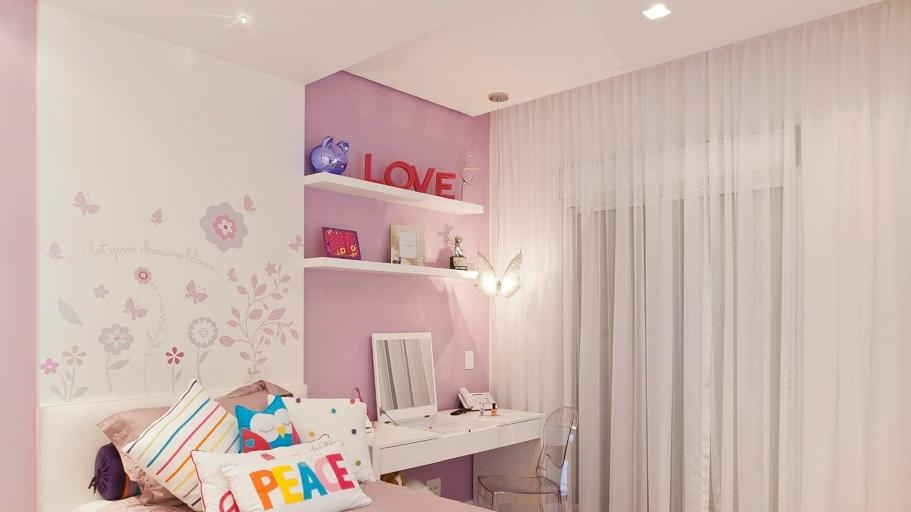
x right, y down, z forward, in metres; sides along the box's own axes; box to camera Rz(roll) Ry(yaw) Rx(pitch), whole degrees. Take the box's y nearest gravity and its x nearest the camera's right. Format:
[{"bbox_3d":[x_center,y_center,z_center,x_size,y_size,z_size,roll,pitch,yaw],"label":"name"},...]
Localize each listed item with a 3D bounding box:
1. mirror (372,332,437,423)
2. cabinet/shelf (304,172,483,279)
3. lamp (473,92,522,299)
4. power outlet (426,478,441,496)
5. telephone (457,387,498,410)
[{"bbox_3d":[-0.461,1.067,5.365,0.796,0.819,0.124,5,-16,-42],"label":"mirror"},{"bbox_3d":[-0.505,-0.227,5.335,1.599,0.794,0.277,2,-7,-37],"label":"cabinet/shelf"},{"bbox_3d":[0.386,-0.548,5.799,0.431,1.853,0.665,-3,-5,5],"label":"lamp"},{"bbox_3d":[-0.181,2.063,5.574,0.200,0.169,0.047,5,-10,-43],"label":"power outlet"},{"bbox_3d":[0.190,1.329,5.715,0.288,0.160,0.198,8,-23,-33],"label":"telephone"}]
